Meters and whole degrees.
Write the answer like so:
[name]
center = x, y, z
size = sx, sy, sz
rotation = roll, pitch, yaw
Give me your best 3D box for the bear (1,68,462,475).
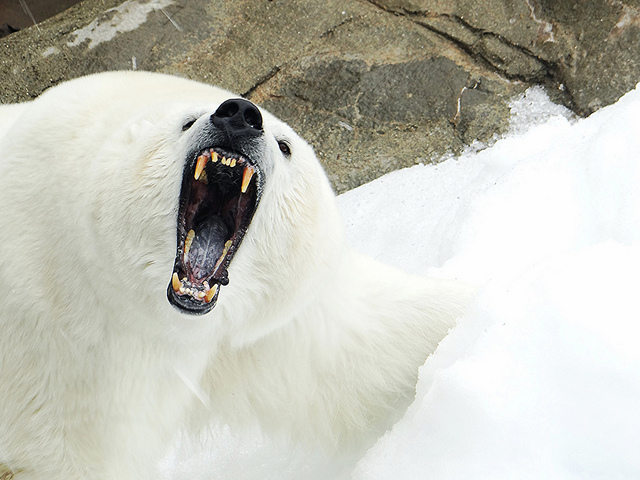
[bear]
center = -0.633, 0.208, 4.290
size = 1.793, 2.188, 1.273
rotation = -20, 92, -27
